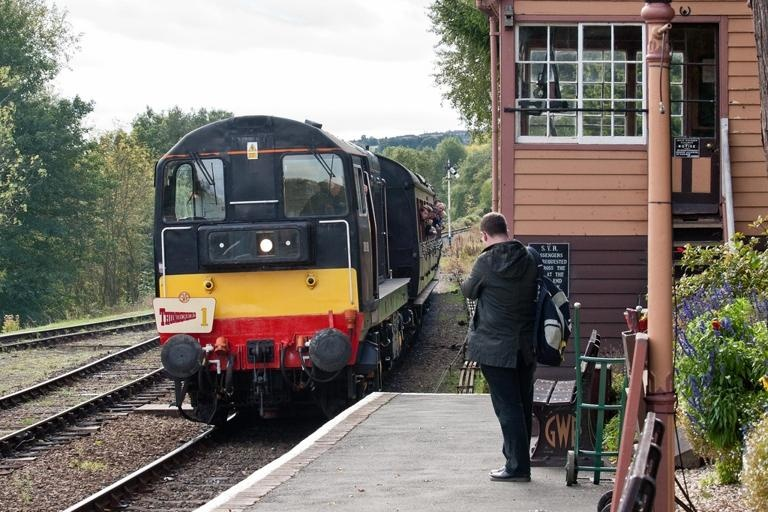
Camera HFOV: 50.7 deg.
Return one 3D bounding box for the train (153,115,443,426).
[{"bbox_3d":[-1.370,0.248,14.406,3.191,5.323,5.626,0,5,19],"label":"train"}]
